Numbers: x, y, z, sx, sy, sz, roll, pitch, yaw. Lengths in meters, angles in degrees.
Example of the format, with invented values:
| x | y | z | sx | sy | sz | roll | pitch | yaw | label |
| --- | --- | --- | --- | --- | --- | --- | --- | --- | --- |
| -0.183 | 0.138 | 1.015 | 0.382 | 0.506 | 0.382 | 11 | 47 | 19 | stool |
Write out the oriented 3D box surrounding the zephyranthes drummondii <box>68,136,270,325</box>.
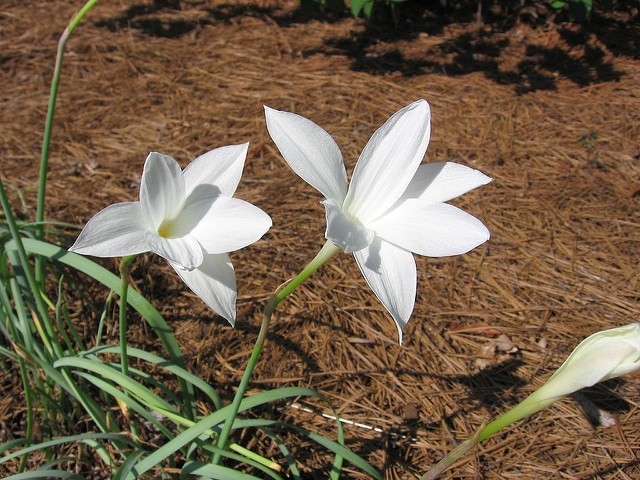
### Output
| x | y | z | sx | sy | sz | roll | pitch | yaw | label |
| --- | --- | --- | --- | --- | --- | --- | --- | --- | --- |
| -0.606 | 0.038 | 2.670 | 0.724 | 0.397 | 0.822 | 40 | 61 | -1 | zephyranthes drummondii |
